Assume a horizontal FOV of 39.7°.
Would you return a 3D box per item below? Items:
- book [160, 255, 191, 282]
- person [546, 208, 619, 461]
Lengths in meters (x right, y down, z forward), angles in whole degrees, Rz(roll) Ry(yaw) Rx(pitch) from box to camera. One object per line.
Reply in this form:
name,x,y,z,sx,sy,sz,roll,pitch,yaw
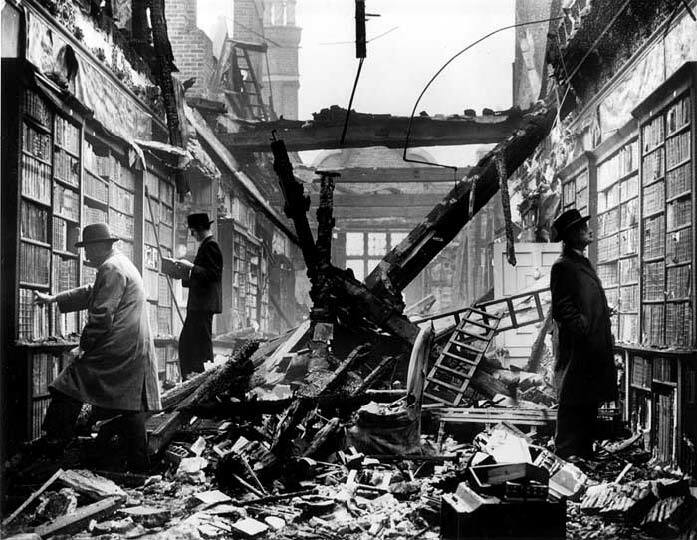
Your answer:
book,-2.072,-0.032,11.366,0.420,0.258,0.439,6,4,-38
person,2.305,0.636,9.629,0.724,2.432,0.535,10,-13,-35
